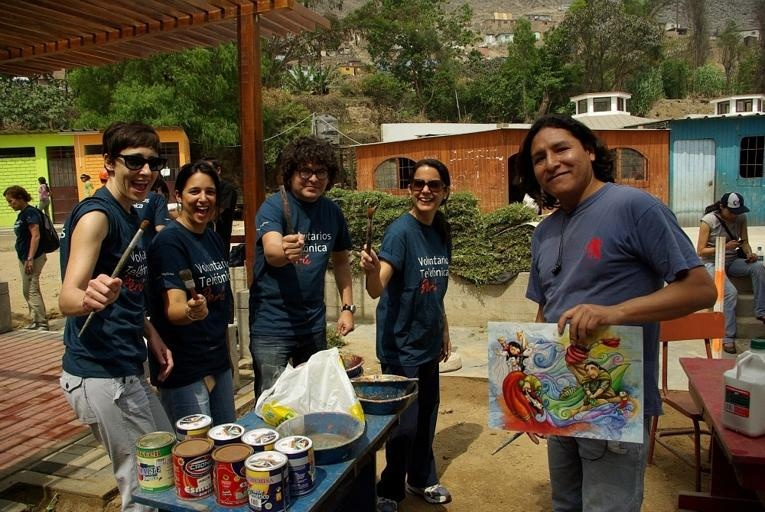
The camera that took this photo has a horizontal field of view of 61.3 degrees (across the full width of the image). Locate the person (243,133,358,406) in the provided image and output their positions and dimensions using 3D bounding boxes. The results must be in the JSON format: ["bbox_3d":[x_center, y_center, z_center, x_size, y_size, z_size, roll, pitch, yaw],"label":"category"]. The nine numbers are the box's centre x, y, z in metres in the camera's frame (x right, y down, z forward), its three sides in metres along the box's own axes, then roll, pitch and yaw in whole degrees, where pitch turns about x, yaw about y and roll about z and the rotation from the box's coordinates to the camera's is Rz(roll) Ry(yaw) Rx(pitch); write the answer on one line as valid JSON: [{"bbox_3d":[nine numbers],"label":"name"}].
[{"bbox_3d":[-0.658,0.080,5.391,0.959,2.170,0.764,-7,8,-30],"label":"person"}]

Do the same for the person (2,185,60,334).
[{"bbox_3d":[-5.572,0.015,10.082,0.922,2.272,0.910,5,-10,-18],"label":"person"}]

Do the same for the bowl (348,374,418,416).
[{"bbox_3d":[0.027,0.965,4.604,0.570,0.317,0.292,-7,-4,1],"label":"bowl"}]

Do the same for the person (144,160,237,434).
[{"bbox_3d":[-1.421,0.269,5.086,0.639,2.110,0.654,0,1,24],"label":"person"}]
